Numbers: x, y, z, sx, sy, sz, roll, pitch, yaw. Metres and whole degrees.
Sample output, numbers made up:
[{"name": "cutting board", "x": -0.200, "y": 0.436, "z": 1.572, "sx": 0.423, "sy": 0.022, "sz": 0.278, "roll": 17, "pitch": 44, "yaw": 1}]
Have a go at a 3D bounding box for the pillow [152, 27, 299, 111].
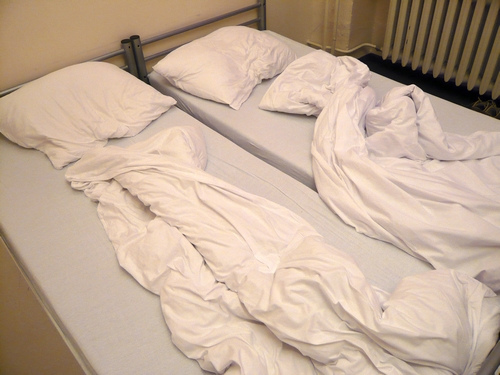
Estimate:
[{"name": "pillow", "x": -0.219, "y": -0.967, "z": 3.179, "sx": 0.647, "sy": 0.265, "sz": 0.941, "roll": 30, "pitch": 53, "yaw": 24}]
